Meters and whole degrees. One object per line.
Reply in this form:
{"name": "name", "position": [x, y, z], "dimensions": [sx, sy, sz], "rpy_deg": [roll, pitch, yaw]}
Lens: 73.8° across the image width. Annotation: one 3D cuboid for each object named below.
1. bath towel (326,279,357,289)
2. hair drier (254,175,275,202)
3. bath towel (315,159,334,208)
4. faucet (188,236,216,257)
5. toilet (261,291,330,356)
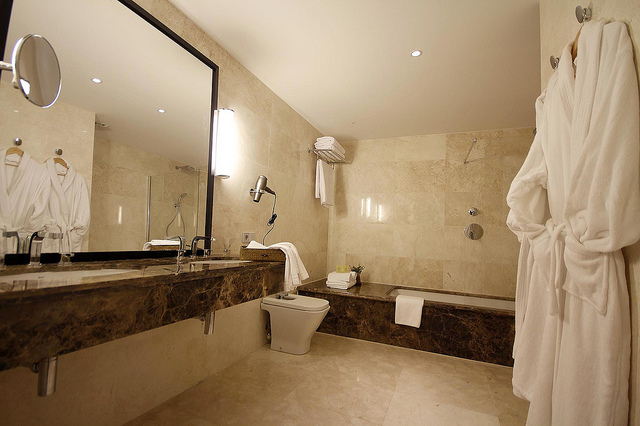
{"name": "bath towel", "position": [0.267, 0.805, 4.803], "dimensions": [0.366, 0.098, 0.231], "rpy_deg": [0, 9, -18]}
{"name": "hair drier", "position": [-0.514, -0.210, 3.836], "dimensions": [0.166, 0.231, 0.103], "rpy_deg": [0, 10, -19]}
{"name": "bath towel", "position": [0.043, -0.345, 5.129], "dimensions": [0.138, 0.550, 0.583], "rpy_deg": [1, -2, 21]}
{"name": "faucet", "position": [-0.881, 0.246, 3.169], "dimensions": [0.258, 0.162, 0.102], "rpy_deg": [-8, -9, 40]}
{"name": "toilet", "position": [-0.248, 1.051, 4.032], "dimensions": [0.600, 0.486, 0.291], "rpy_deg": [7, 10, 23]}
